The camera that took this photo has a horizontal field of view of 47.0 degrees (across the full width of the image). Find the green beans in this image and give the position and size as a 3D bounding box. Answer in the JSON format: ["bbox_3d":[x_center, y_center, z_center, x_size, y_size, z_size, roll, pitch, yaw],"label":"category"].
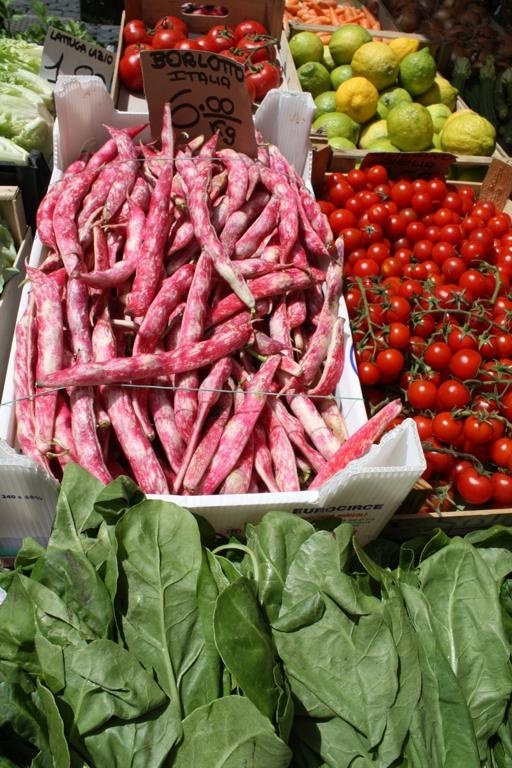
[{"bbox_3d":[-0.258,-0.344,2.146,1.013,0.533,1.520,0,52,-5],"label":"green beans"}]
